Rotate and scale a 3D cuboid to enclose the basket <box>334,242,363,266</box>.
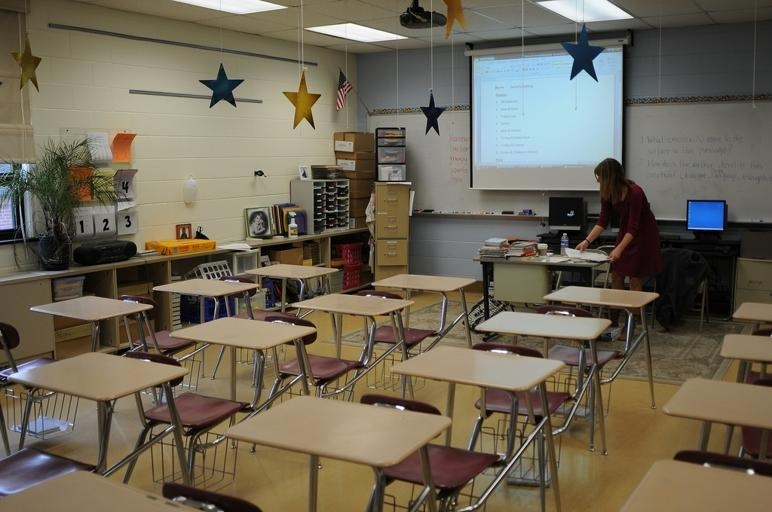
[{"bbox_3d":[-0.646,-0.026,9.456,0.348,0.334,0.448,1,4,31],"label":"basket"}]

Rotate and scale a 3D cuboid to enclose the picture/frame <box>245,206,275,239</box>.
[{"bbox_3d":[-1.947,-0.481,8.424,0.065,0.475,0.509,-8,-6,41],"label":"picture/frame"}]

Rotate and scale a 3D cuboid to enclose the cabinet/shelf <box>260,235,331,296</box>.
[{"bbox_3d":[-1.319,0.155,7.736,0.311,0.817,0.911,1,4,29],"label":"cabinet/shelf"}]

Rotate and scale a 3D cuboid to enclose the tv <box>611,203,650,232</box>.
[{"bbox_3d":[2.756,-0.449,6.253,0.477,0.420,0.300,-9,12,-36],"label":"tv"}]

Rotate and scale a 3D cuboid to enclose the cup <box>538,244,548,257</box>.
[{"bbox_3d":[1.860,-0.069,6.697,0.155,0.148,0.116,0,5,22],"label":"cup"}]

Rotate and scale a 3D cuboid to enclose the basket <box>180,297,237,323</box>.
[{"bbox_3d":[-2.168,0.657,6.754,0.508,0.317,0.515,1,1,19],"label":"basket"}]

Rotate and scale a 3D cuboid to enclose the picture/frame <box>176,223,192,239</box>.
[{"bbox_3d":[-2.760,-0.328,7.539,0.021,0.195,0.199,-4,4,29],"label":"picture/frame"}]

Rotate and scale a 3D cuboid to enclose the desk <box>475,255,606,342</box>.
[{"bbox_3d":[1.711,0.232,6.744,1.299,0.915,1.069,3,8,28],"label":"desk"}]

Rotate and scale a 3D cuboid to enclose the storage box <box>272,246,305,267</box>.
[{"bbox_3d":[-1.505,0.036,8.555,0.507,0.255,0.156,-10,12,-40],"label":"storage box"}]

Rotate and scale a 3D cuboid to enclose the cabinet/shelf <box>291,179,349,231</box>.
[{"bbox_3d":[-1.117,-0.823,8.960,0.445,0.781,0.861,1,4,32],"label":"cabinet/shelf"}]

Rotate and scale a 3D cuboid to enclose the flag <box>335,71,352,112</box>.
[{"bbox_3d":[-0.746,-2.830,9.386,0.236,0.705,0.887,-3,10,-5],"label":"flag"}]

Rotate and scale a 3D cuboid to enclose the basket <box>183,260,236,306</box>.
[{"bbox_3d":[-2.364,0.346,7.478,0.362,0.298,0.508,-4,4,26],"label":"basket"}]

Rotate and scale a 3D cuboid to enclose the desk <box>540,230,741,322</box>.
[{"bbox_3d":[3.964,-0.060,7.575,1.250,1.280,1.860,4,8,39],"label":"desk"}]

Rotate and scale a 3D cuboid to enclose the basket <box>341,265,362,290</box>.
[{"bbox_3d":[-0.587,0.362,9.390,0.292,0.260,0.413,0,0,8],"label":"basket"}]

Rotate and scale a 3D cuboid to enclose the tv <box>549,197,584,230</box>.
[{"bbox_3d":[2.716,-0.628,8.343,0.482,0.442,0.256,2,3,31],"label":"tv"}]

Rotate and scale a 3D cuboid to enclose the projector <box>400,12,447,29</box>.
[{"bbox_3d":[0.394,-2.548,6.022,0.402,0.144,0.300,1,9,-9],"label":"projector"}]

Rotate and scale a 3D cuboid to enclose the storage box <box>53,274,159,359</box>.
[{"bbox_3d":[-2.494,0.465,4.739,0.676,0.417,0.662,4,8,31],"label":"storage box"}]

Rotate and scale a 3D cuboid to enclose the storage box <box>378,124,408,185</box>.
[{"bbox_3d":[0.070,-1.657,9.199,0.489,0.883,0.190,-4,9,-11],"label":"storage box"}]

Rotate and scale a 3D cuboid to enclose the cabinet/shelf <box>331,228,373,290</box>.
[{"bbox_3d":[-0.590,0.088,9.381,0.594,0.752,1.050,0,3,25],"label":"cabinet/shelf"}]
